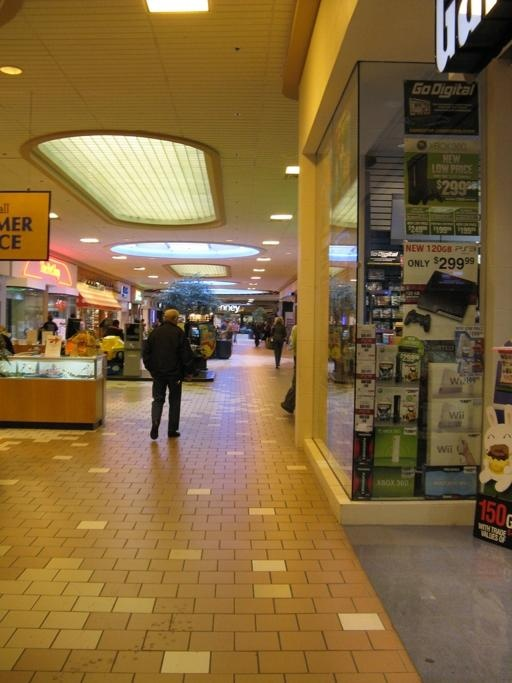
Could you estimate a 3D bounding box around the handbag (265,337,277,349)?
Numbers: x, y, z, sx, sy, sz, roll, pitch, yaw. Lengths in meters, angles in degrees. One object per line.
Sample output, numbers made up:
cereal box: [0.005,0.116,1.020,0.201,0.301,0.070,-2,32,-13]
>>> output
handbag: [0.707,0.099,24.998,0.372,0.778,0.727,5,-6,-9]

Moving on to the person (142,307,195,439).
person: [-1.098,0.391,6.537,0.579,1.580,0.616,1,0,-11]

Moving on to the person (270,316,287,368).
person: [0.738,0.016,16.950,0.533,1.555,0.437,2,-1,-13]

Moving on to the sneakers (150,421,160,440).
sneakers: [-1.209,1.074,6.270,0.088,0.242,0.108,5,-5,2]

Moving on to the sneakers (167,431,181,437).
sneakers: [-1.014,1.152,6.577,0.057,0.094,0.148,3,7,35]
